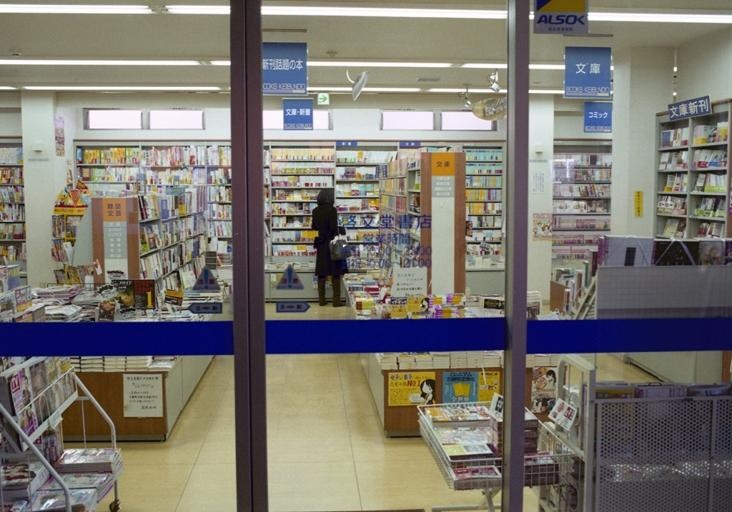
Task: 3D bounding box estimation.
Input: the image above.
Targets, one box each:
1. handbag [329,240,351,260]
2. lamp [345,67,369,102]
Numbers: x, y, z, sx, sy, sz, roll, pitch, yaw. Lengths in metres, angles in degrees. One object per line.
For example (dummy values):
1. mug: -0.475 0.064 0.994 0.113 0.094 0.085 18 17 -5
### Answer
1. handbag: -0.214 -0.042 5.045 0.110 0.173 0.172 1 5 22
2. lamp: -0.060 -1.296 4.841 0.151 0.228 0.061 31 -5 -28
